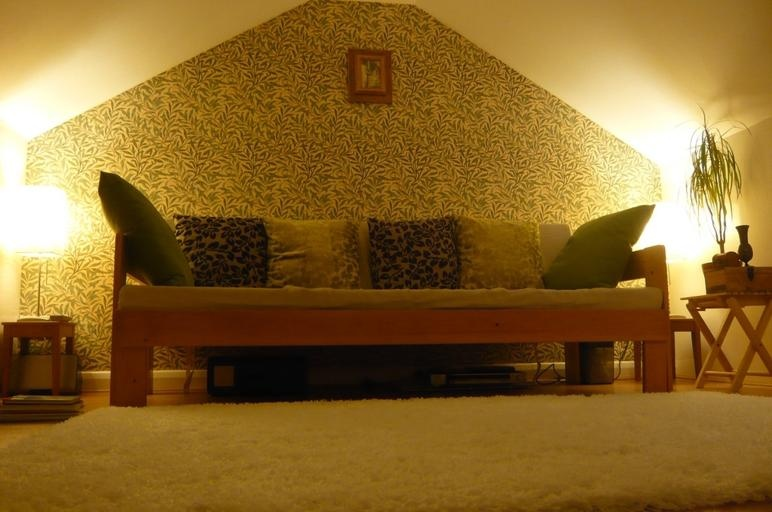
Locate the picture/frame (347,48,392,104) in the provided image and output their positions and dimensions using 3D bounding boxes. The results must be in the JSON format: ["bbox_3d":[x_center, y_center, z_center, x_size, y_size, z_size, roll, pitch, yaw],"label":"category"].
[{"bbox_3d":[-0.134,-1.351,4.580,0.462,0.471,0.049,1,-7,-10],"label":"picture/frame"}]
